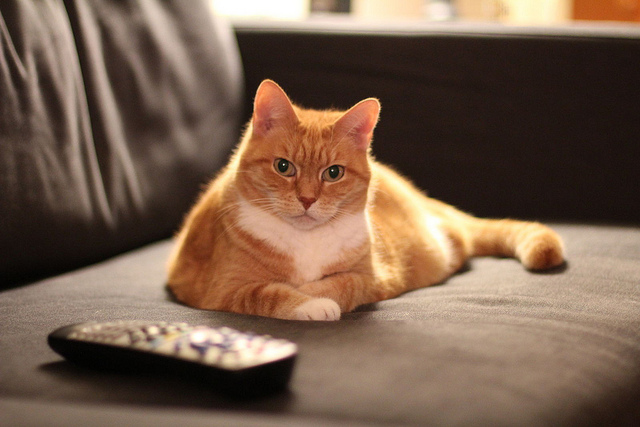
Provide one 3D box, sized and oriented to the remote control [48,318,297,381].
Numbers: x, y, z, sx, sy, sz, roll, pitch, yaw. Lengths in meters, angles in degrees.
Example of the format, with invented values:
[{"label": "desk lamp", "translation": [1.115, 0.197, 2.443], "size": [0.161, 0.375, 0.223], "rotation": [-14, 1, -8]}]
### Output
[{"label": "remote control", "translation": [-0.427, 0.385, 1.737], "size": [0.705, 0.141, 0.357], "rotation": [5, 1, 11]}]
